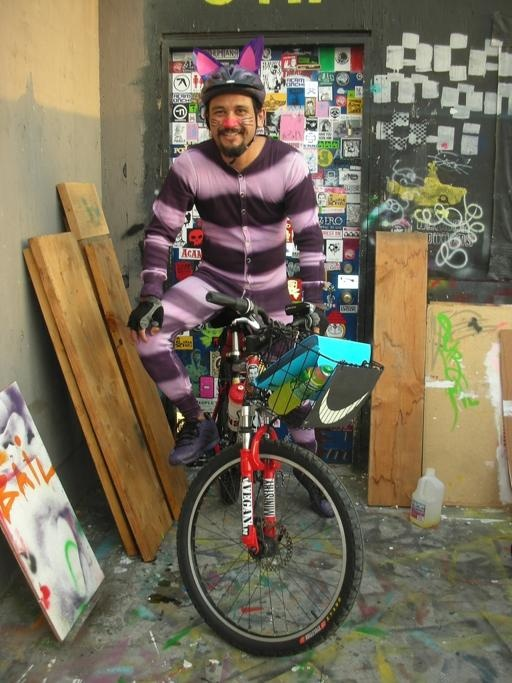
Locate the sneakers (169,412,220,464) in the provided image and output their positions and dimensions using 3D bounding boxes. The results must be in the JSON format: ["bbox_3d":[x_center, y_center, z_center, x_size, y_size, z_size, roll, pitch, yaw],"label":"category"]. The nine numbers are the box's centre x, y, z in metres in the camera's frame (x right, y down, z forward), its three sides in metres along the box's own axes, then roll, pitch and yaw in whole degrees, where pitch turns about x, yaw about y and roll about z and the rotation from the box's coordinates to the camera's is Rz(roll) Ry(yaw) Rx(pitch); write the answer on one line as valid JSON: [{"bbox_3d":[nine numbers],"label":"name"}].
[{"bbox_3d":[-0.285,0.452,2.899,0.117,0.143,0.326,2,13,19],"label":"sneakers"}]

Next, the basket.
[{"bbox_3d":[0.178,0.116,1.854,0.378,0.289,0.273,1,8,4],"label":"basket"}]
